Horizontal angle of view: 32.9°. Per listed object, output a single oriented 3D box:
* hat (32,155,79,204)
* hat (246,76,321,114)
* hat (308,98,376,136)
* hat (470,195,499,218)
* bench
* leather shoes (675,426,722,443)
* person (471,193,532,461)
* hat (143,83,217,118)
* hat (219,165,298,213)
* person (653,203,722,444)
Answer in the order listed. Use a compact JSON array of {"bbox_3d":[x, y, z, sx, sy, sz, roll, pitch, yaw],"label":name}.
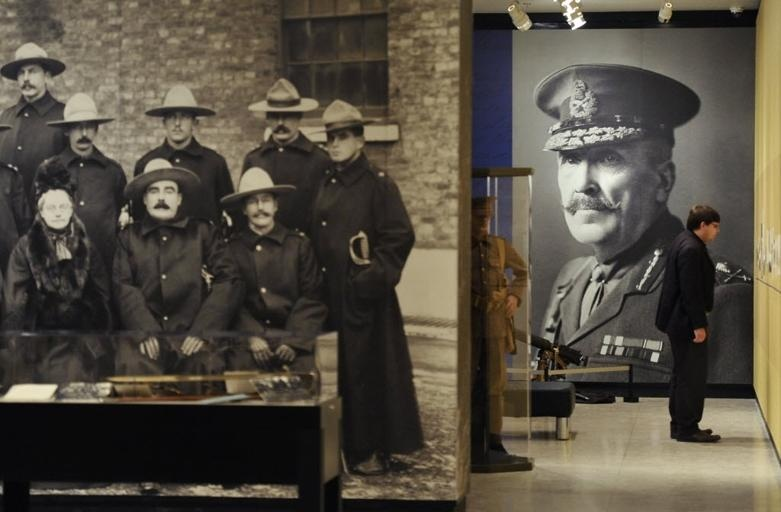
[{"bbox_3d":[-2.863,-0.653,11.417,0.540,0.407,0.256,0,-2,-5],"label":"hat"},{"bbox_3d":[-0.928,-1.376,11.312,0.645,0.186,0.564,-5,16,-17],"label":"hat"},{"bbox_3d":[-0.437,-1.207,11.252,0.595,0.183,0.474,-8,27,-8],"label":"hat"},{"bbox_3d":[0.836,-0.440,11.903,0.288,0.220,0.186,-1,-4,15],"label":"hat"},{"bbox_3d":[1.380,1.443,12.483,0.858,0.423,0.758,0,0,12],"label":"bench"},{"bbox_3d":[2.984,1.769,12.932,0.300,0.076,0.197,-3,-2,0],"label":"leather shoes"},{"bbox_3d":[0.968,0.532,11.962,0.508,2.124,0.218,1,10,3],"label":"person"},{"bbox_3d":[-1.790,-1.282,11.271,0.401,0.122,0.349,-4,-6,22],"label":"hat"},{"bbox_3d":[-1.149,-0.562,11.220,0.450,0.146,0.384,-12,-1,31],"label":"hat"},{"bbox_3d":[2.905,0.683,12.855,0.619,2.289,0.516,0,10,-3],"label":"person"}]
